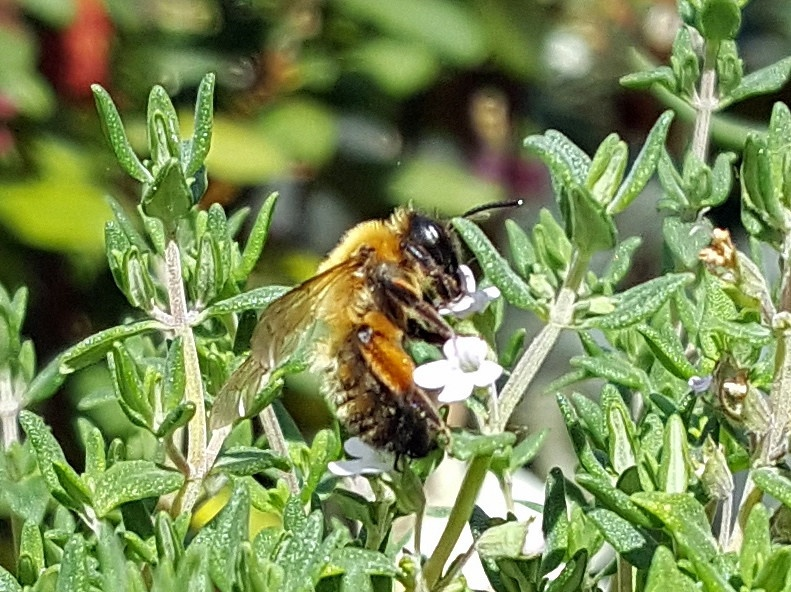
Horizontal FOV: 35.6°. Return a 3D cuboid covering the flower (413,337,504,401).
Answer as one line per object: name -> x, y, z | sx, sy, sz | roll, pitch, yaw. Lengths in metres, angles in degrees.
flower -> 0.115, 0.133, 2.281 | 0.127, 0.135, 0.037 | 7, -22, 43

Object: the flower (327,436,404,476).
flower -> -0.061, 0.311, 2.371 | 0.075, 0.021, 0.083 | -1, 26, 16
